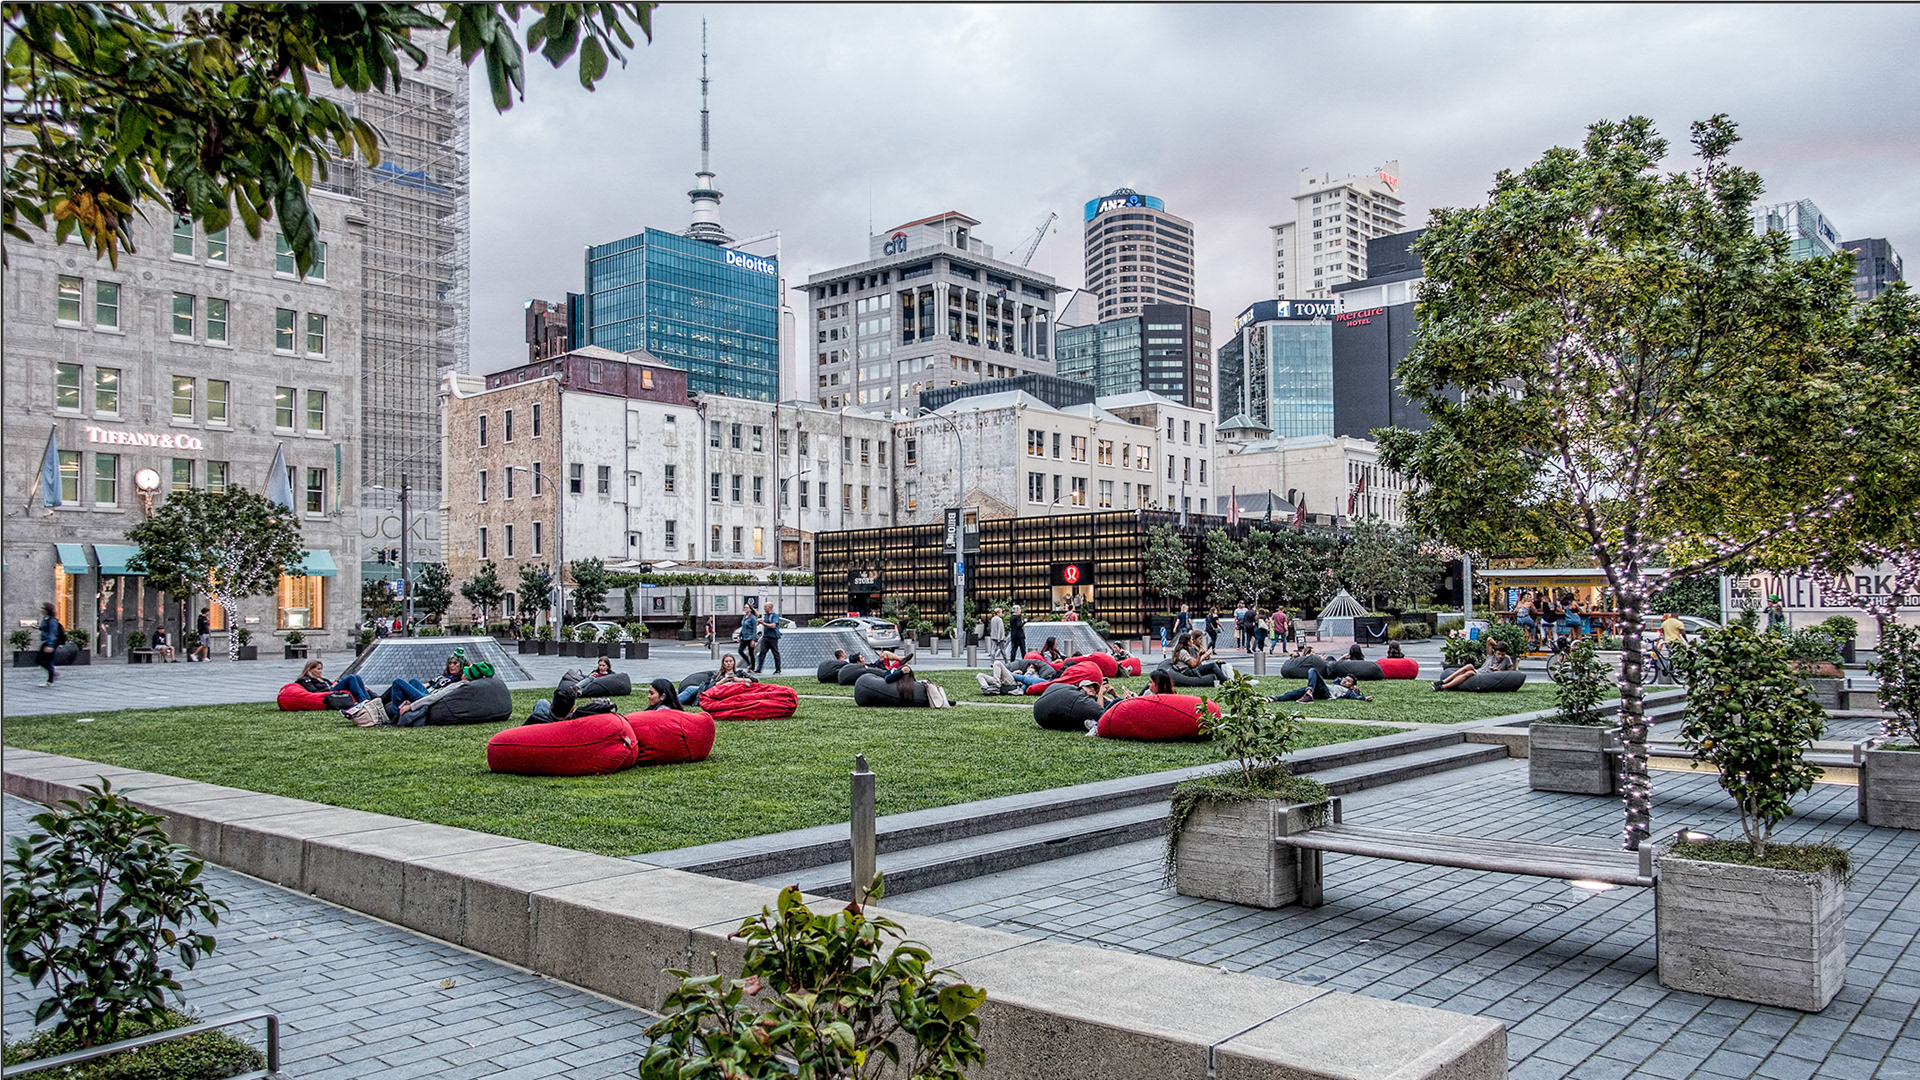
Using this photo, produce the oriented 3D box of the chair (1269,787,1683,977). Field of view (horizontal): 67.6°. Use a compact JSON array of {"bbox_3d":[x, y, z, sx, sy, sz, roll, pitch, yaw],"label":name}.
[{"bbox_3d":[6.088,3.465,16.361,3.367,0.979,1.324,0,4,25],"label":"chair"}]
